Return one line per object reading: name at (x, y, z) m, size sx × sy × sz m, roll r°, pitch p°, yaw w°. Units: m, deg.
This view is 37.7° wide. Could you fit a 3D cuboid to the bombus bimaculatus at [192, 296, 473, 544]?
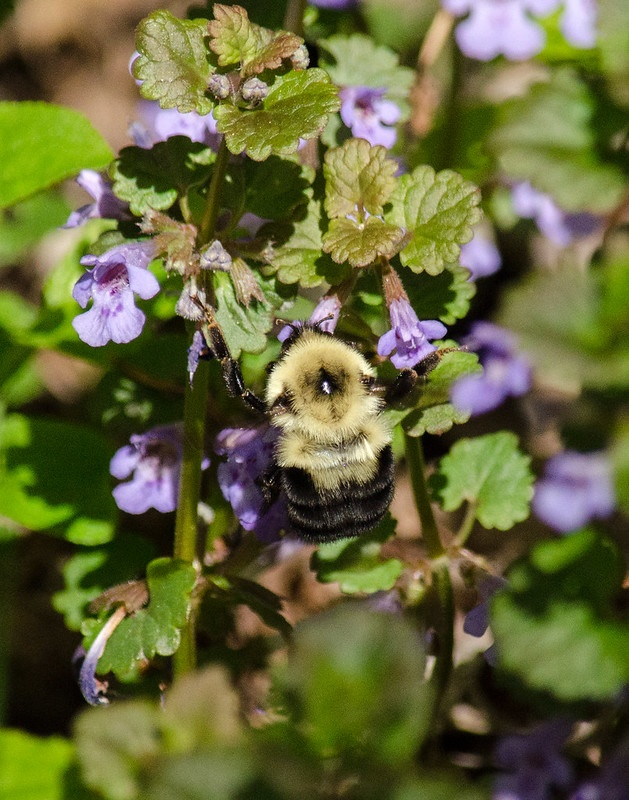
bombus bimaculatus at (0.019, 0.056, 2.549) m, size 0.676 × 0.609 × 0.890 m, roll 1°, pitch 44°, yaw 5°
